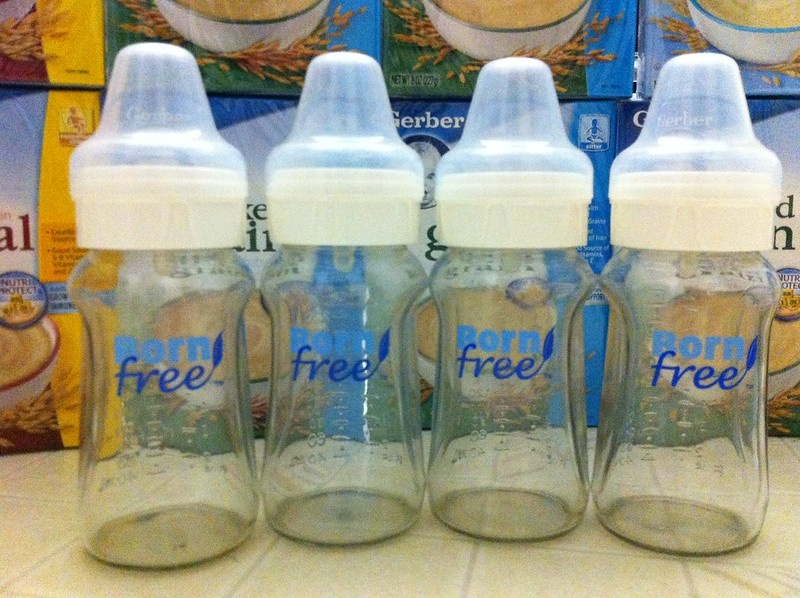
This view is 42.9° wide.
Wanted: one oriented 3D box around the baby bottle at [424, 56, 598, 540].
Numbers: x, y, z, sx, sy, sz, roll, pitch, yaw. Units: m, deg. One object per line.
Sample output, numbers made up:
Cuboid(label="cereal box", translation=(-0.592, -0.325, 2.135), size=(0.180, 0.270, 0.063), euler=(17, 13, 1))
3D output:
Cuboid(label="baby bottle", translation=(0.120, -0.001, 1.141), size=(0.195, 0.523, 0.137), euler=(-2, 9, 9))

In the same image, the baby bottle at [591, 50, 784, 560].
Cuboid(label="baby bottle", translation=(0.310, 0.003, 1.125), size=(0.205, 0.534, 0.146), euler=(0, 9, 21))

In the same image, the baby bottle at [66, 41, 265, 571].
Cuboid(label="baby bottle", translation=(-0.261, 0.003, 1.101), size=(0.207, 0.547, 0.140), euler=(-5, 9, -9))

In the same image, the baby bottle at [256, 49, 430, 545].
Cuboid(label="baby bottle", translation=(-0.068, -0.003, 1.128), size=(0.200, 0.528, 0.136), euler=(-3, 9, 1))
